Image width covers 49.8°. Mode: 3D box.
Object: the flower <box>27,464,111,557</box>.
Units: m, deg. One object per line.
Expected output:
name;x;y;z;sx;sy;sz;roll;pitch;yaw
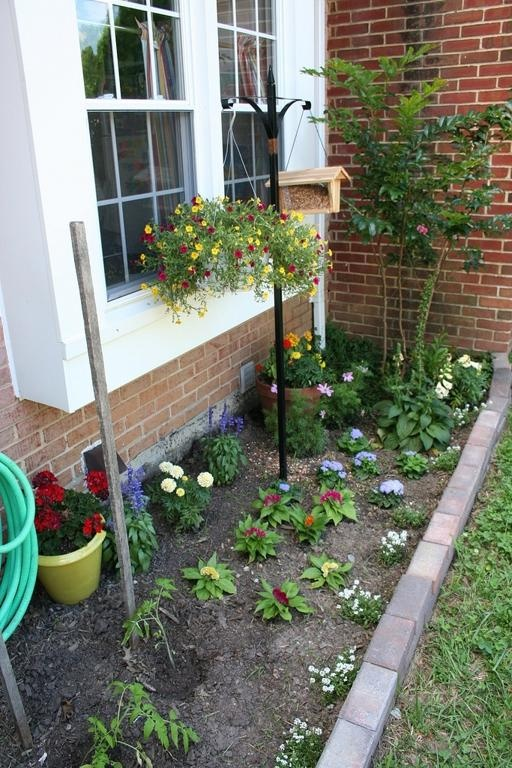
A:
flower;-0.674;0.468;2.075;0.284;0.218;0.342;15;19;21

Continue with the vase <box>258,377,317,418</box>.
vase;0.190;0.089;3.574;0.422;0.249;0.388;-1;24;10
